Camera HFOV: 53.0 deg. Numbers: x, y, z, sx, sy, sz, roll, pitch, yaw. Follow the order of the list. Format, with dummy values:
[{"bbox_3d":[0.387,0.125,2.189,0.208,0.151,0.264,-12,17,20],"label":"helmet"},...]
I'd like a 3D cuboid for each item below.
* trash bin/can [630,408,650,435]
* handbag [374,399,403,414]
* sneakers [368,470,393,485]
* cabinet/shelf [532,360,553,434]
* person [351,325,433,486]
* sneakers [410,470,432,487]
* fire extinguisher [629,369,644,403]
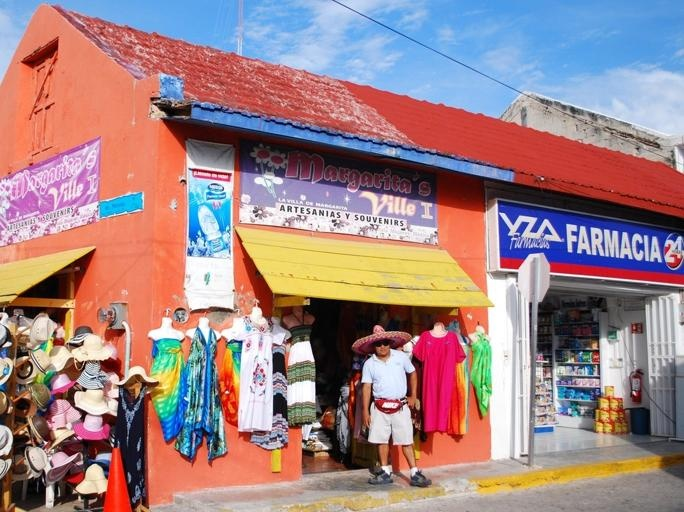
[{"bbox_3d":[7.214,3.938,16.526,0.500,0.597,0.510,2,-1,-7],"label":"trash bin/can"},{"bbox_3d":[0.766,2.355,10.871,0.468,0.235,0.115,-3,-12,2],"label":"handbag"},{"bbox_3d":[0.606,3.446,10.795,0.410,0.201,0.181,2,-9,1],"label":"sneakers"},{"bbox_3d":[5.147,3.402,17.429,0.471,1.934,2.815,-5,-12,16],"label":"cabinet/shelf"},{"bbox_3d":[0.748,2.408,10.868,1.029,2.368,0.569,-2,-12,0],"label":"person"},{"bbox_3d":[1.254,3.465,10.753,0.337,0.249,0.170,0,-6,6],"label":"sneakers"},{"bbox_3d":[7.216,3.131,16.702,0.367,0.844,0.356,-8,-13,26],"label":"fire extinguisher"}]
